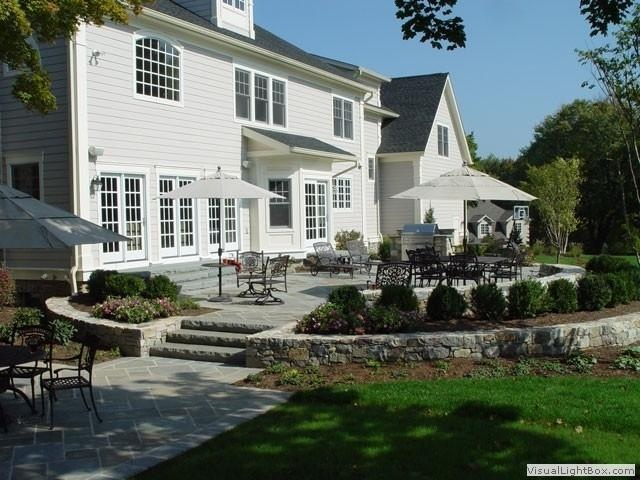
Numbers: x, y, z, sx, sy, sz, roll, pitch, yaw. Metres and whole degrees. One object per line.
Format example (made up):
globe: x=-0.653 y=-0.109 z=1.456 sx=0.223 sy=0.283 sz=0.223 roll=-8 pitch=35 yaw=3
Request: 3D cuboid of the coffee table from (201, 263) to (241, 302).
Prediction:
coffee table: x=-2.841 y=0.990 z=14.818 sx=1.065 sy=0.823 sz=0.944 roll=0 pitch=-4 yaw=-20

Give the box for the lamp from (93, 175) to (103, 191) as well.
lamp: x=-6.370 y=-1.366 z=14.908 sx=0.377 sy=0.372 sz=0.328 roll=2 pitch=-6 yaw=-15

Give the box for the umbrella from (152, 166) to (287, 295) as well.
umbrella: x=-2.871 y=-0.511 z=14.880 sx=3.023 sy=2.249 sz=2.521 roll=-1 pitch=9 yaw=-12
